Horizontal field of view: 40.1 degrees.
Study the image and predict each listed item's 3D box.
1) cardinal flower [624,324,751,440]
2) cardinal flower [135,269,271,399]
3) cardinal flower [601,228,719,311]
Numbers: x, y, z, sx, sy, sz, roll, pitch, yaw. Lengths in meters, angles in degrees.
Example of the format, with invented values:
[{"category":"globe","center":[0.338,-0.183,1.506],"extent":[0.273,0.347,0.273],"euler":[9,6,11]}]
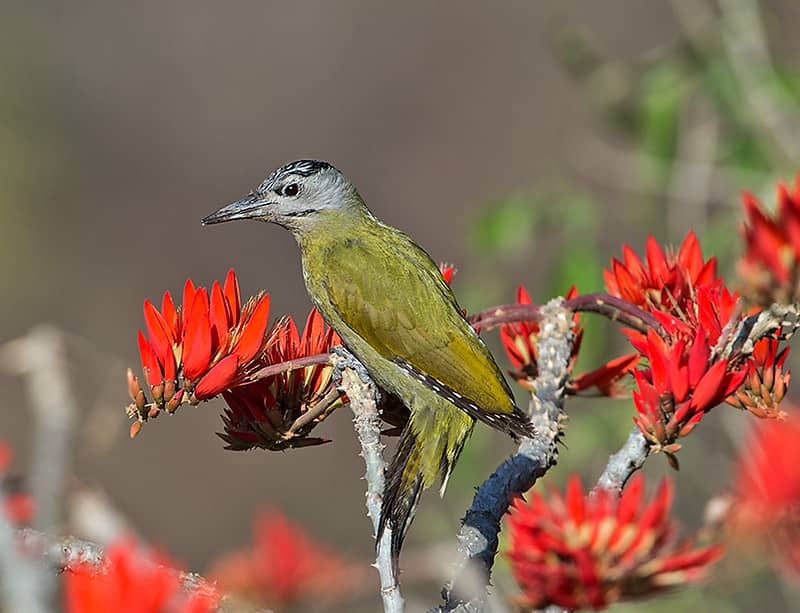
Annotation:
[{"category":"cardinal flower","center":[0.698,0.206,2.774],"extent":[0.300,0.259,0.284],"euler":[-60,-16,1]},{"category":"cardinal flower","center":[-0.505,0.075,2.846],"extent":[0.337,0.323,0.205],"euler":[-8,-31,-16]},{"category":"cardinal flower","center":[0.733,-0.099,3.029],"extent":[0.210,0.233,0.207],"euler":[-28,15,-23]}]
